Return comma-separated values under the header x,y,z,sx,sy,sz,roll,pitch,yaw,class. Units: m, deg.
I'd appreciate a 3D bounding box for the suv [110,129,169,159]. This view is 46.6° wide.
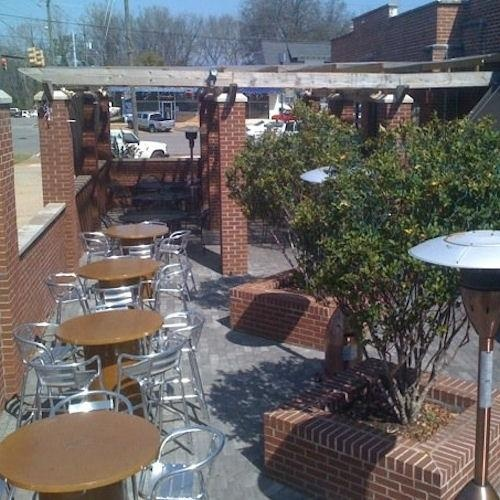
x,y,z,sx,sy,sz,roll,pitch,yaw,class
-5.129,-4.873,26.867,2.276,1.320,6.892,0,12,-6,suv

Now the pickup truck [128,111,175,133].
x,y,z,sx,sy,sz,roll,pitch,yaw,class
-9.061,-11.644,53.893,2.161,1.867,5.176,-13,25,-38,pickup truck
